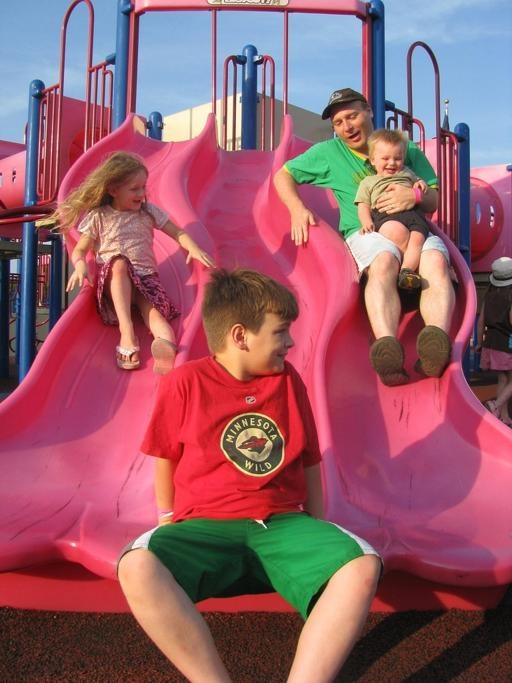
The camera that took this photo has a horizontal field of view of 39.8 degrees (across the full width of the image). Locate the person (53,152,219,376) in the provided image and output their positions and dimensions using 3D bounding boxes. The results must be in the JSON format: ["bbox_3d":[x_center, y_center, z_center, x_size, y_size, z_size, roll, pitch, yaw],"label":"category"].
[{"bbox_3d":[-0.497,-0.367,3.073,0.685,0.572,1.073,-8,35,-21],"label":"person"}]

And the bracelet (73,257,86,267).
[{"bbox_3d":[-0.763,-0.335,3.037,0.054,0.014,0.051,0,39,22],"label":"bracelet"}]

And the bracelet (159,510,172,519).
[{"bbox_3d":[-0.233,0.445,1.808,0.021,0.019,0.020,-2,-10,-2],"label":"bracelet"}]

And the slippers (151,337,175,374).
[{"bbox_3d":[-0.364,0.058,2.755,0.092,0.138,0.048,8,16,1],"label":"slippers"}]

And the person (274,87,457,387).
[{"bbox_3d":[0.537,-0.489,3.147,0.812,0.796,1.533,-3,39,-4],"label":"person"}]

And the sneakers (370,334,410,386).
[{"bbox_3d":[0.505,0.040,2.699,0.171,0.108,0.308,-13,-1,17],"label":"sneakers"}]

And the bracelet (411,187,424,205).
[{"bbox_3d":[0.748,-0.666,3.246,0.070,0.059,0.069,11,18,20],"label":"bracelet"}]
